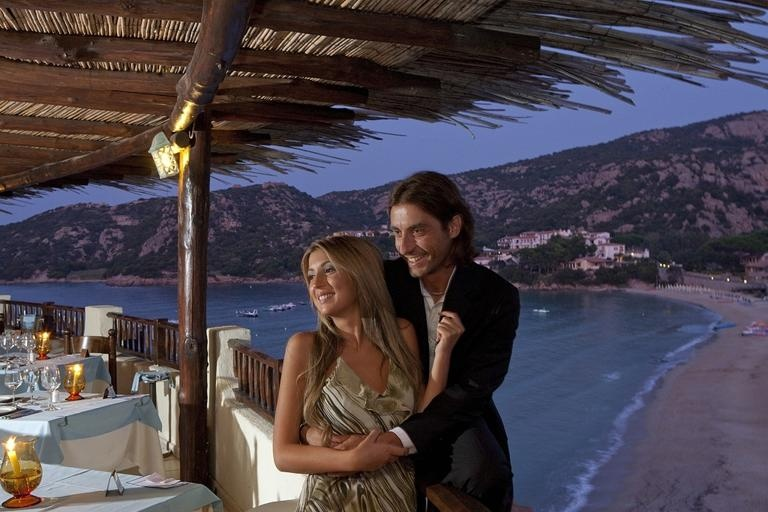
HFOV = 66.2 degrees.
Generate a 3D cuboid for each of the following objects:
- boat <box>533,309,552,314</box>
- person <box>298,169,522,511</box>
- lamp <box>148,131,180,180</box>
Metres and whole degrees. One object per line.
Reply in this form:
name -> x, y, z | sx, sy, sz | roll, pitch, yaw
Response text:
boat -> 20.711, 7.165, 77.428 | 2.149, 0.117, 4.481 | -1, 4, 11
person -> 0.312, 0.396, 2.928 | 0.706, 1.661, 0.630 | -2, 7, 10
lamp -> -1.889, -0.853, 5.019 | 0.212, 0.355, 0.565 | -5, 6, -19
